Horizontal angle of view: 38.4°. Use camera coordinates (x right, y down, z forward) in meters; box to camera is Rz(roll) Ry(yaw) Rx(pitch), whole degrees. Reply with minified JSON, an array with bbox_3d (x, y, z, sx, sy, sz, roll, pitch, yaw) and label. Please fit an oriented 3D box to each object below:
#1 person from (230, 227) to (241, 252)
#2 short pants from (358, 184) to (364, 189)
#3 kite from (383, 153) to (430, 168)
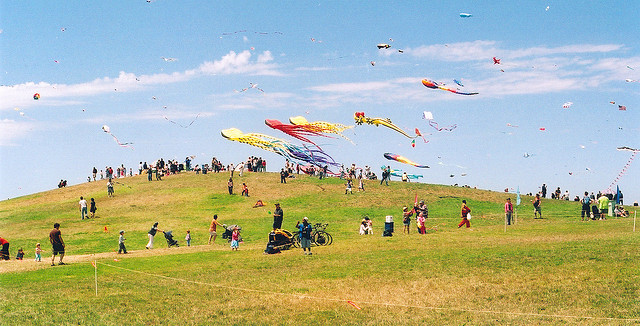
[{"bbox_3d":[-9.728,8.657,104.578,0.776,2.690,0.951,0,-5,-6],"label":"person"},{"bbox_3d":[5.940,3.526,135.110,0.759,0.627,0.265,27,-11,-39],"label":"short pants"},{"bbox_3d":[7.347,-0.215,83.404,4.827,0.988,0.702,16,-6,-6],"label":"kite"}]
